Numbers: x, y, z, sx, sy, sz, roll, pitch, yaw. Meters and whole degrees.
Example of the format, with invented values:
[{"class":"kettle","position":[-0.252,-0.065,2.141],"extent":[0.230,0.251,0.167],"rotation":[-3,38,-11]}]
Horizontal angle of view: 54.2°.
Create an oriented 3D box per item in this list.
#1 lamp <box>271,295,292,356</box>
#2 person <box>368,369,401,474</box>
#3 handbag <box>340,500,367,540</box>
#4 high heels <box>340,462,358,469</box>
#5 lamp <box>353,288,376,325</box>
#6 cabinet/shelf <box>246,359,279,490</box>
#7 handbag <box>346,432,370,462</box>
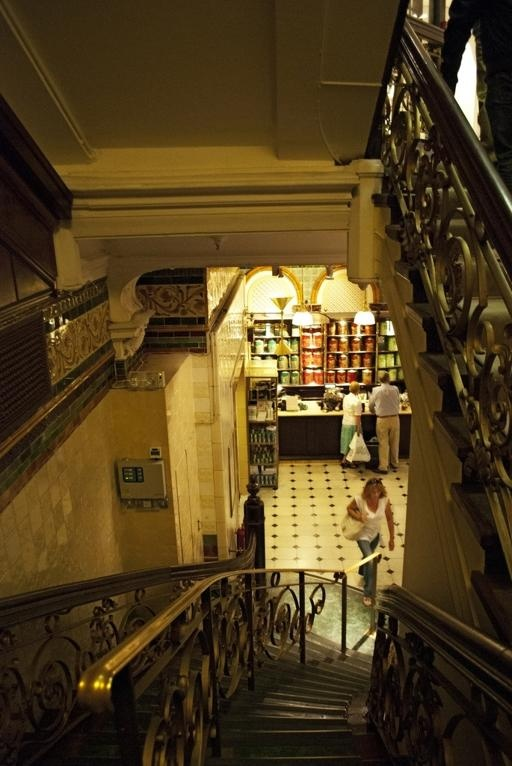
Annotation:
[{"class":"lamp","position":[0.542,-1.157,9.992],"extent":[0.372,1.276,0.771],"rotation":[-2,-5,3]},{"class":"person","position":[2.310,0.765,8.945],"extent":[0.516,1.755,1.310],"rotation":[-3,-5,13]},{"class":"handbag","position":[1.055,1.475,5.360],"extent":[0.245,0.439,0.191],"rotation":[-4,-5,21]},{"class":"high heels","position":[1.782,1.553,9.492],"extent":[0.330,0.154,0.110],"rotation":[-1,17,15]},{"class":"lamp","position":[2.126,-1.541,9.807],"extent":[0.409,0.891,1.068],"rotation":[-3,-5,14]},{"class":"cabinet/shelf","position":[0.112,0.783,8.592],"extent":[0.622,2.554,1.405],"rotation":[0,15,3]},{"class":"handbag","position":[1.859,1.191,9.145],"extent":[0.425,0.575,0.325],"rotation":[-5,14,-17]}]
